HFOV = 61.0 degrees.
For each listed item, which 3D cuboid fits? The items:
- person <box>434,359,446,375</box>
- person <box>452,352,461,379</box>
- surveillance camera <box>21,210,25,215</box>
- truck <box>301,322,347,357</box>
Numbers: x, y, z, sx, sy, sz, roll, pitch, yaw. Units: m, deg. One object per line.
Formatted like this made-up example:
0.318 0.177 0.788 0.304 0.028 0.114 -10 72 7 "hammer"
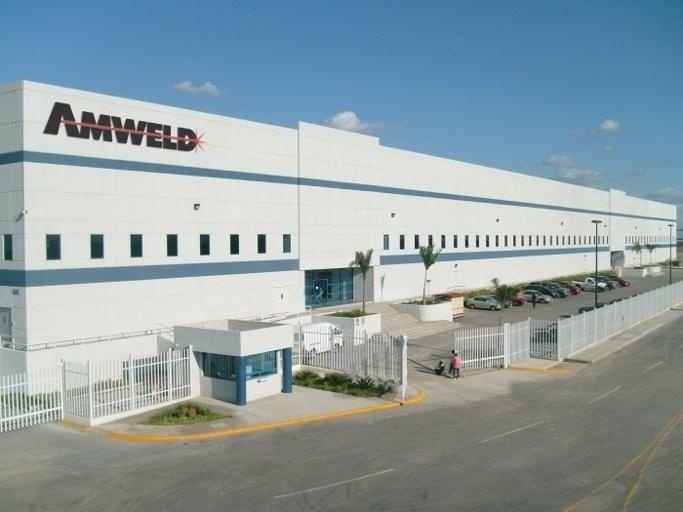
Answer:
5.297 5.926 30.891 0.609 0.673 1.214 1 5 10 "person"
5.909 5.674 29.818 0.521 1.232 0.737 1 5 9 "person"
-15.960 -2.185 29.075 0.194 0.181 0.189 4 1 2 "surveillance camera"
-1.024 4.738 32.957 1.373 1.244 2.167 3 6 42 "truck"
